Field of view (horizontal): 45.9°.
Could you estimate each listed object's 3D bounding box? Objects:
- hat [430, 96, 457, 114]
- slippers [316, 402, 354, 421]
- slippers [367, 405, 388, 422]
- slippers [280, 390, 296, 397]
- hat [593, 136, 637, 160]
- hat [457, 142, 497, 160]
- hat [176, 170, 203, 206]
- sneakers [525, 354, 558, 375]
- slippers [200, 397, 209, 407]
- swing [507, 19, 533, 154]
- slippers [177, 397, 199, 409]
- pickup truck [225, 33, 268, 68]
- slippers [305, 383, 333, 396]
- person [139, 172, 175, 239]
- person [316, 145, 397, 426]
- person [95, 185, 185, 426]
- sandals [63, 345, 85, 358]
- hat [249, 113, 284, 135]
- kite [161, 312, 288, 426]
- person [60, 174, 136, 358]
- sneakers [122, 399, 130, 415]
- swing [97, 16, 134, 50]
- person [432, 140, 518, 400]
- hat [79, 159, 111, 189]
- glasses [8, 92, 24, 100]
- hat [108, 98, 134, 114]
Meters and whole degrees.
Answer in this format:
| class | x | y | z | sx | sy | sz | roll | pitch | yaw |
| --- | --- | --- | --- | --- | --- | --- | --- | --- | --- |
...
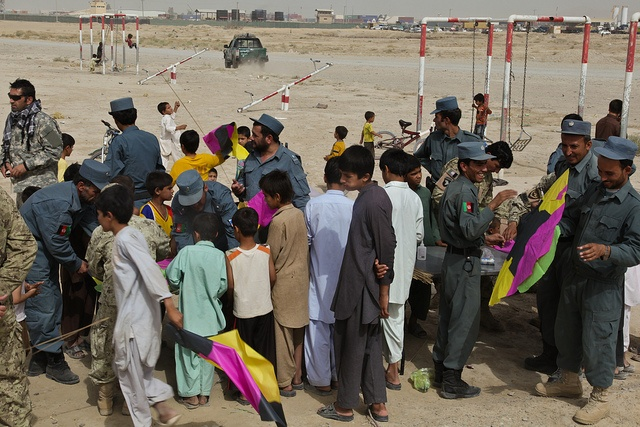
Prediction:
| class | x | y | z | sx | sy | sz | roll | pitch | yaw |
| --- | --- | --- | --- | --- | --- | --- | --- | --- | --- |
| hat | 1.783 | -1.531 | 10.728 | 0.341 | 0.248 | 0.375 | 5 | 13 | 23 |
| slippers | 0.183 | 2.248 | 8.606 | 0.387 | 0.161 | 0.170 | 10 | 3 | 8 |
| slippers | 0.659 | 2.266 | 8.508 | 0.107 | 0.092 | 0.278 | -3 | 12 | -26 |
| slippers | -0.362 | 2.108 | 8.854 | 0.160 | 0.065 | 0.074 | -3 | 1 | 14 |
| hat | 3.280 | -0.711 | 8.344 | 0.351 | 0.145 | 0.264 | 8 | 14 | 10 |
| hat | 1.803 | -0.715 | 8.810 | 0.315 | 0.120 | 0.220 | 11 | 14 | 33 |
| hat | -1.564 | -0.311 | 9.214 | 0.280 | 0.433 | 0.157 | -5 | -29 | 8 |
| sneakers | 2.781 | 1.882 | 9.469 | 0.433 | 0.203 | 0.175 | 6 | 9 | 26 |
| slippers | -1.323 | 2.169 | 8.671 | 0.075 | 0.036 | 0.105 | 0 | 13 | -11 |
| swing | 4.667 | -3.099 | 18.460 | 0.795 | 3.945 | 0.721 | -1 | 38 | 9 |
| slippers | -1.499 | 2.179 | 8.682 | 0.220 | 0.092 | 0.107 | 7 | 12 | 33 |
| pickup truck | -3.986 | -8.597 | 40.119 | 1.480 | 1.422 | 2.396 | -4 | 25 | -14 |
| slippers | -0.008 | 2.102 | 8.982 | 0.327 | 0.120 | 0.125 | 8 | 7 | 41 |
| person | -2.006 | -0.080 | 9.364 | 0.325 | 0.960 | 0.476 | 1 | 30 | 3 |
| person | 0.479 | 0.810 | 8.459 | 0.724 | 3.030 | 0.669 | 1 | 12 | 5 |
| person | -1.867 | 1.067 | 8.015 | 1.001 | 2.672 | 0.570 | 11 | 17 | 42 |
| sandals | -3.065 | 1.737 | 9.483 | 0.219 | 0.090 | 0.135 | 9 | 15 | 35 |
| hat | -0.644 | -1.103 | 9.674 | 0.249 | 0.111 | 0.331 | 32 | 5 | 40 |
| kite | -0.942 | 1.576 | 8.139 | 1.333 | 0.570 | 0.898 | 39 | -10 | -10 |
| person | -2.964 | 0.628 | 9.641 | 0.859 | 2.477 | 0.784 | -5 | 19 | -10 |
| sneakers | -2.179 | 2.213 | 8.568 | 0.091 | 0.116 | 0.256 | 2 | -1 | -17 |
| swing | -17.953 | -16.102 | 67.903 | 3.213 | 3.040 | 2.744 | 2 | 15 | -1 |
| person | 1.684 | 0.670 | 8.846 | 0.742 | 2.946 | 0.648 | -8 | 15 | -32 |
| hat | -2.608 | -0.484 | 8.887 | 0.369 | 0.201 | 0.283 | 26 | 19 | -22 |
| glasses | -4.054 | -1.557 | 10.083 | 0.233 | 0.098 | 0.099 | 4 | 13 | 18 |
| hat | -2.713 | -1.487 | 10.430 | 0.304 | 0.214 | 0.391 | -2 | 12 | -12 |
